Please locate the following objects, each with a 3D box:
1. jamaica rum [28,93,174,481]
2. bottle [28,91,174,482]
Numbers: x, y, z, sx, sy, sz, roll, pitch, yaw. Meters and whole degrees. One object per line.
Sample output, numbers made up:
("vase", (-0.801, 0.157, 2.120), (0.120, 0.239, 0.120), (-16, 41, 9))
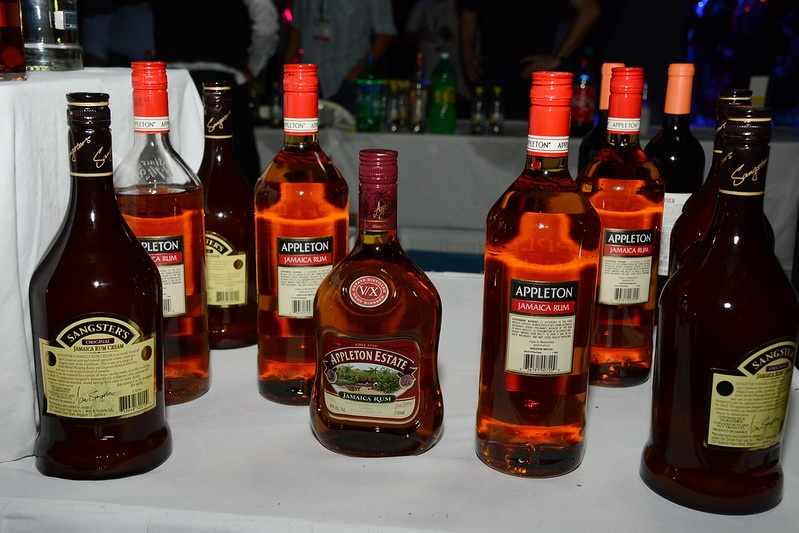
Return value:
("jamaica rum", (-0.399, 0.032, 0.925), (0.183, 0.484, 0.121), (-7, 20, -17))
("bottle", (-0.397, 0.028, 0.985), (0.184, 0.462, 0.178), (2, 11, 0))
